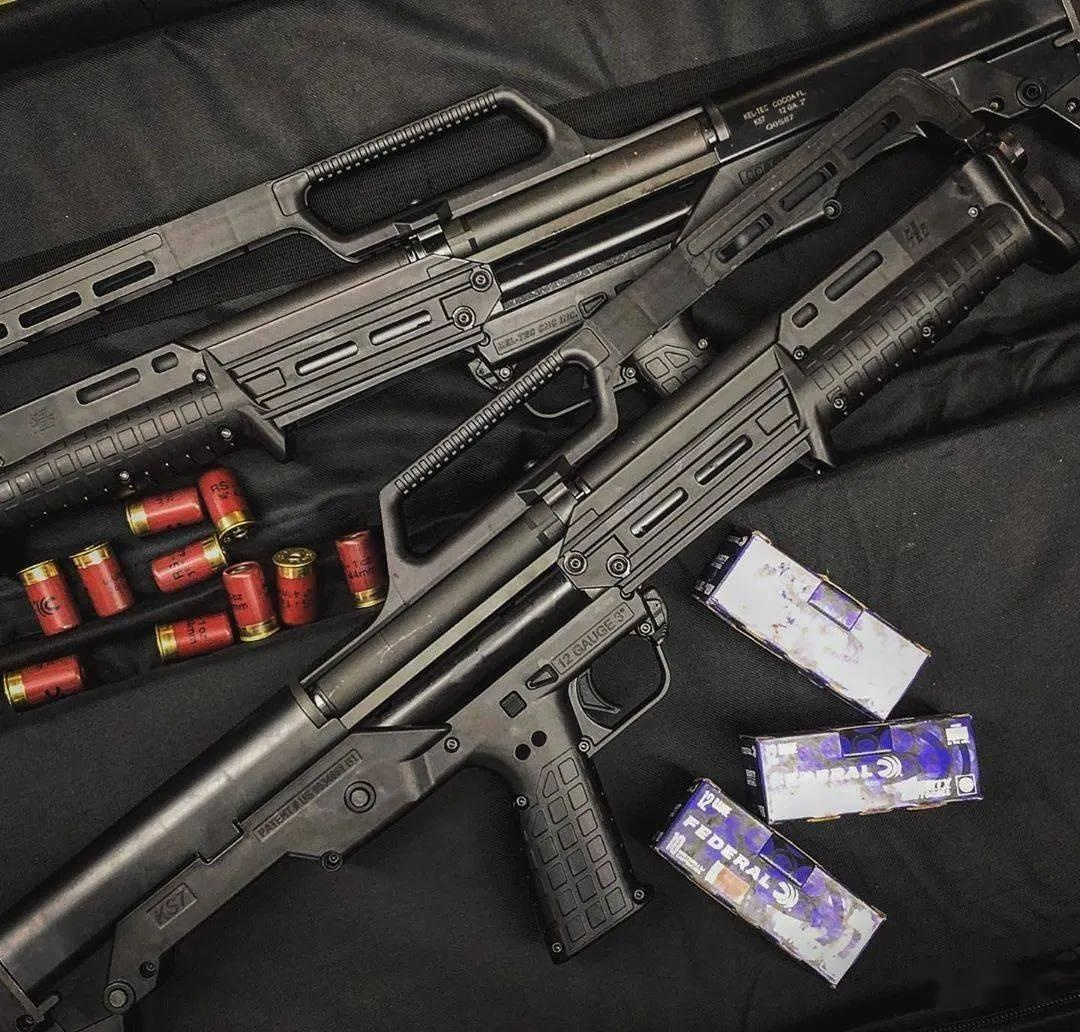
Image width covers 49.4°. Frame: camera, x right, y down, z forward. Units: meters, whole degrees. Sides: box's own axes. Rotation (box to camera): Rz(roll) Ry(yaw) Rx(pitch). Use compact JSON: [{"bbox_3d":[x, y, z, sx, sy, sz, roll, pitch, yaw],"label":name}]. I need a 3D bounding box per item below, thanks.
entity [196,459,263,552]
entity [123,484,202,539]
[{"bbox_3d":[-1.259,-0.051,4.705,0.220,0.216,0.362,-28,85,-24],"label":"entity"},{"bbox_3d":[-1.489,-0.011,4.663,0.364,0.224,0.214,-10,80,-4],"label":"entity"}]
